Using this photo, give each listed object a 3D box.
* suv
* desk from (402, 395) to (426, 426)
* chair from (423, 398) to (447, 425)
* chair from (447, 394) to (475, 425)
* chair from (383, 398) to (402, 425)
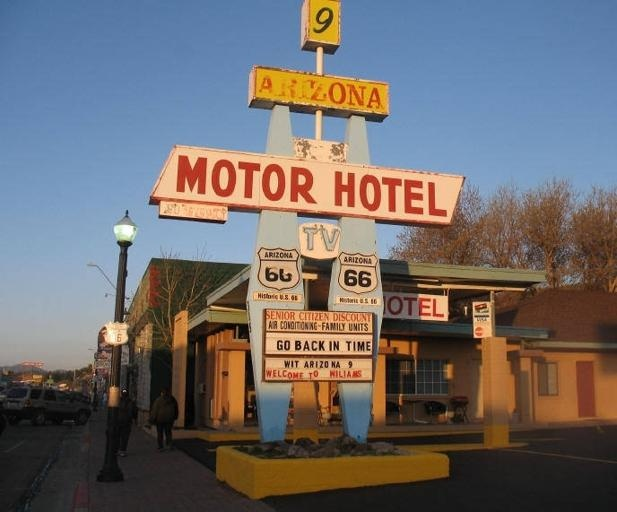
[{"bbox_3d":[-13.758,7.796,34.480,1.289,1.946,4.130,-8,-15,39],"label":"suv"},{"bbox_3d":[4.838,7.024,30.271,0.965,1.066,1.016,4,-9,-23],"label":"desk"},{"bbox_3d":[5.851,7.085,30.271,0.815,1.180,0.988,4,-20,-11],"label":"chair"},{"bbox_3d":[7.061,7.002,30.261,1.059,1.573,0.920,0,-8,1],"label":"chair"},{"bbox_3d":[3.932,7.038,30.035,0.737,1.074,0.493,0,-11,5],"label":"chair"}]
